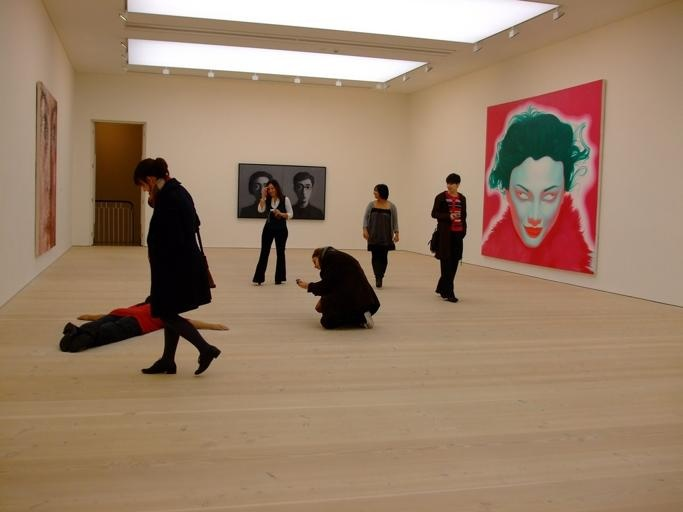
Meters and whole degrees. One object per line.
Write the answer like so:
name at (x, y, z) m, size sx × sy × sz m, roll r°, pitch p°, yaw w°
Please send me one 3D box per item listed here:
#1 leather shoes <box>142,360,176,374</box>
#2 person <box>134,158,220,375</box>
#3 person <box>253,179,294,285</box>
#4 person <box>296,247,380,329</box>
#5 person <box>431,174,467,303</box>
leather shoes at (-1.681, 1.011, 4.953) m, size 0.317 × 0.165 × 0.123 m, roll 4°, pitch -2°, yaw 0°
person at (-1.416, 0.151, 4.699) m, size 0.725 × 1.934 × 0.589 m, roll 13°, pitch 12°, yaw 42°
person at (-1.319, -0.457, 10.299) m, size 0.650 × 2.018 × 0.883 m, roll 3°, pitch 9°, yaw -10°
person at (0.021, 0.387, 7.092) m, size 1.036 × 1.188 × 0.815 m, roll -1°, pitch 3°, yaw 34°
person at (1.751, -0.301, 8.978) m, size 0.556 × 2.112 × 0.780 m, roll 6°, pitch 9°, yaw 14°
